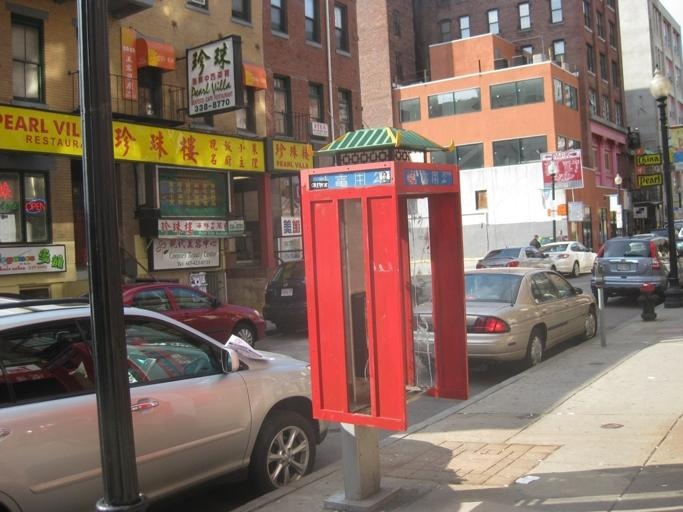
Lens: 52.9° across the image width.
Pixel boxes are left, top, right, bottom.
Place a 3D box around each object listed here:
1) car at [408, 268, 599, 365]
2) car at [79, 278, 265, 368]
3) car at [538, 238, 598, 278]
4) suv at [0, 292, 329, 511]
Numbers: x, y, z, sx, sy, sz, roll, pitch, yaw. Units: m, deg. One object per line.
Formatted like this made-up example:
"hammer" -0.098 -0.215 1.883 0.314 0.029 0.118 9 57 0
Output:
"car" 3.336 0.992 12.237 1.615 1.317 3.617 -1 5 38
"car" -3.493 1.344 14.908 4.044 1.549 1.695 1 -4 -41
"car" 11.143 0.043 33.085 1.468 1.143 3.312 -1 5 37
"suv" -1.789 1.301 6.716 3.065 1.468 1.462 -9 3 -44
